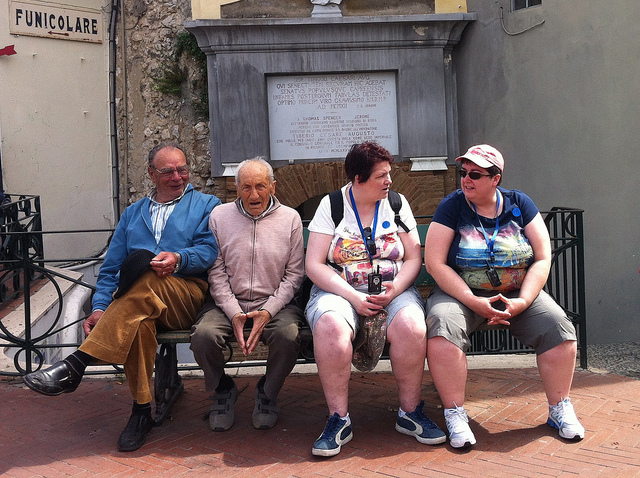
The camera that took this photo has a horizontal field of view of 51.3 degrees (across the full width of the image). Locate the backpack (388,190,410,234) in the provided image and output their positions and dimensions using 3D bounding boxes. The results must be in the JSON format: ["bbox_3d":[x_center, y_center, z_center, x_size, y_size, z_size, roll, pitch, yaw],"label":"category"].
[{"bbox_3d":[0.607,-0.214,5.331,0.199,0.284,0.298,0,47,7],"label":"backpack"}]

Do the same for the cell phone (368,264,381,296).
[{"bbox_3d":[0.410,0.345,5.007,0.091,0.153,0.101,-1,11,3],"label":"cell phone"}]

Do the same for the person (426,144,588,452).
[{"bbox_3d":[1.353,0.389,4.979,1.098,2.110,0.831,-1,11,7],"label":"person"}]

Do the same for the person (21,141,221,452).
[{"bbox_3d":[-1.405,0.390,5.286,0.886,2.193,1.450,4,12,26],"label":"person"}]

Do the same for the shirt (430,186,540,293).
[{"bbox_3d":[1.213,0.054,5.427,1.132,1.153,0.684,-4,4,3],"label":"shirt"}]

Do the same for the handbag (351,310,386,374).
[{"bbox_3d":[0.351,0.758,4.916,0.110,0.468,0.234,2,10,-43],"label":"handbag"}]
